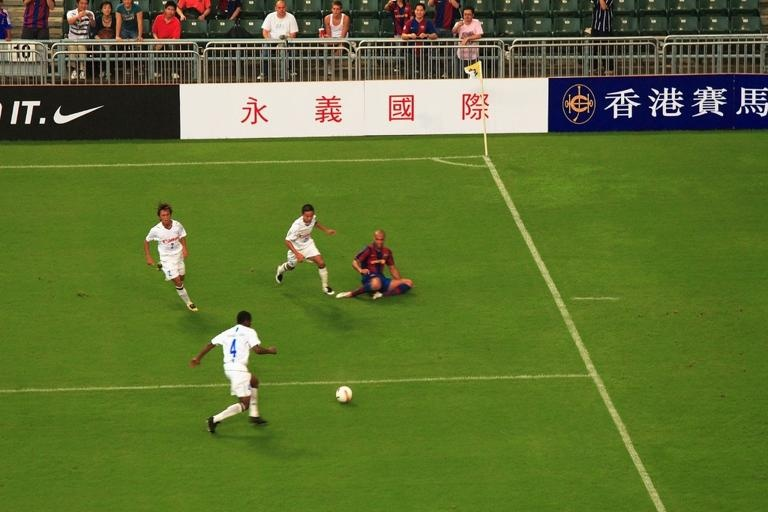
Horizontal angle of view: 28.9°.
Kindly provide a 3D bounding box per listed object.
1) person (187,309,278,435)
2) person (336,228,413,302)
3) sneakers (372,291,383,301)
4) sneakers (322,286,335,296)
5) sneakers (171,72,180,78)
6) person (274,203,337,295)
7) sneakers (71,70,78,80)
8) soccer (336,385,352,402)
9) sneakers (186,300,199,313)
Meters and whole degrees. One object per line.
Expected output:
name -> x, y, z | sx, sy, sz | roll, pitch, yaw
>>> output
person -> -2.999, 2.370, 30.405 | 1.280, 2.537, 1.249 | -3, 10, -7
person -> -0.215, 0.270, 35.031 | 1.795, 1.389, 0.940 | -2, 9, -27
sneakers -> -0.126, 0.901, 34.500 | 0.161, 0.103, 0.212 | 3, 13, 17
sneakers -> -1.302, 0.802, 34.518 | 0.164, 0.114, 0.292 | -2, 4, -28
sneakers -> -5.961, -5.139, 42.406 | 0.146, 0.170, 0.044 | 0, 3, -11
person -> -1.868, -0.085, 35.443 | 1.573, 1.823, 1.151 | 29, 49, 32
sneakers -> -8.773, -5.109, 42.014 | 0.153, 0.240, 0.108 | -1, 0, -4
soccer -> -0.817, 2.891, 31.455 | 0.337, 0.312, 0.312 | 15, 35, 5
sneakers -> -4.371, 1.121, 33.880 | 0.139, 0.137, 0.359 | -34, 45, -26
